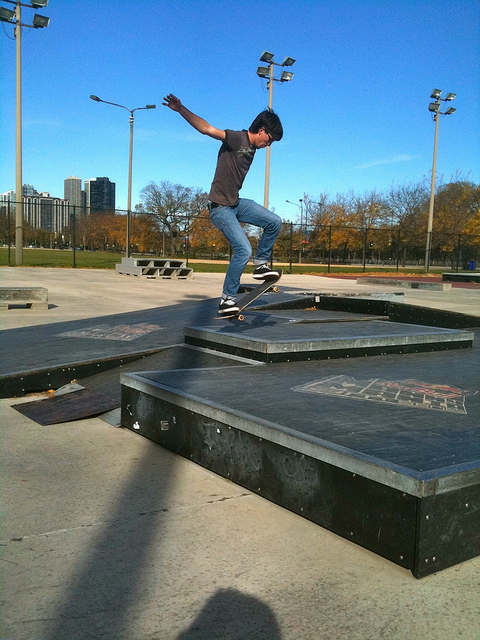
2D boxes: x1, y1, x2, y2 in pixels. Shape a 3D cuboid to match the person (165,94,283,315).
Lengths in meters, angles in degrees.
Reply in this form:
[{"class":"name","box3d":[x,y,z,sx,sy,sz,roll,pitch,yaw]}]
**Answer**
[{"class":"person","box3d":[-0.049,-0.966,4.243,0.817,1.894,1.286,2,4,5]}]
